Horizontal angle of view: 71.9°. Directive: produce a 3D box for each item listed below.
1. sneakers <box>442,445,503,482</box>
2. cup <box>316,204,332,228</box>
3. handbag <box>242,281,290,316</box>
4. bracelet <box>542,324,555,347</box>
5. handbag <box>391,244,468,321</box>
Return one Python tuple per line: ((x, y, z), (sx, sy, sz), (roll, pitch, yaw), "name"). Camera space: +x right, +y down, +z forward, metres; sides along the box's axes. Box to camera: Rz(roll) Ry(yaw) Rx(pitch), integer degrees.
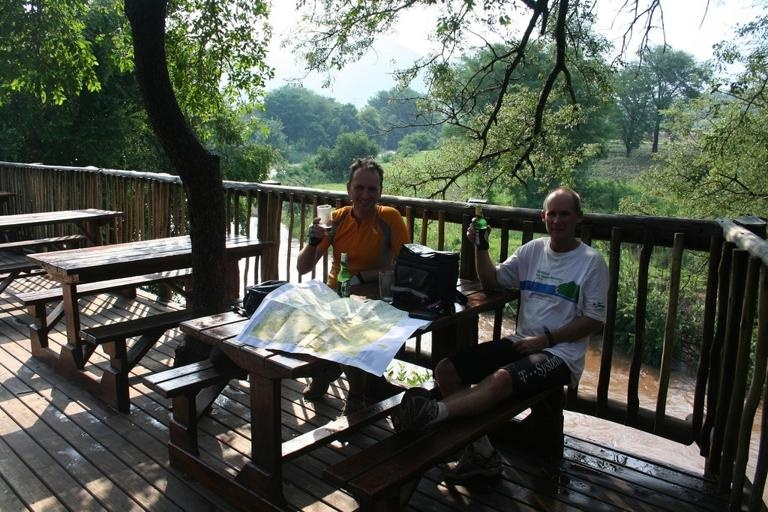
((0.688, 1.573, 4.066), (0.524, 0.262, 0.187), (-1, 6, -3), "sneakers")
((-0.476, -0.309, 4.102), (0.142, 0.179, 0.108), (2, 13, 16), "cup")
((-0.892, 0.333, 3.963), (0.264, 0.115, 0.261), (-18, 13, -19), "handbag")
((1.224, 0.607, 3.950), (0.100, 0.137, 0.069), (9, 16, 39), "bracelet")
((0.268, 0.112, 4.085), (0.352, 0.442, 0.483), (15, 12, 18), "handbag")
